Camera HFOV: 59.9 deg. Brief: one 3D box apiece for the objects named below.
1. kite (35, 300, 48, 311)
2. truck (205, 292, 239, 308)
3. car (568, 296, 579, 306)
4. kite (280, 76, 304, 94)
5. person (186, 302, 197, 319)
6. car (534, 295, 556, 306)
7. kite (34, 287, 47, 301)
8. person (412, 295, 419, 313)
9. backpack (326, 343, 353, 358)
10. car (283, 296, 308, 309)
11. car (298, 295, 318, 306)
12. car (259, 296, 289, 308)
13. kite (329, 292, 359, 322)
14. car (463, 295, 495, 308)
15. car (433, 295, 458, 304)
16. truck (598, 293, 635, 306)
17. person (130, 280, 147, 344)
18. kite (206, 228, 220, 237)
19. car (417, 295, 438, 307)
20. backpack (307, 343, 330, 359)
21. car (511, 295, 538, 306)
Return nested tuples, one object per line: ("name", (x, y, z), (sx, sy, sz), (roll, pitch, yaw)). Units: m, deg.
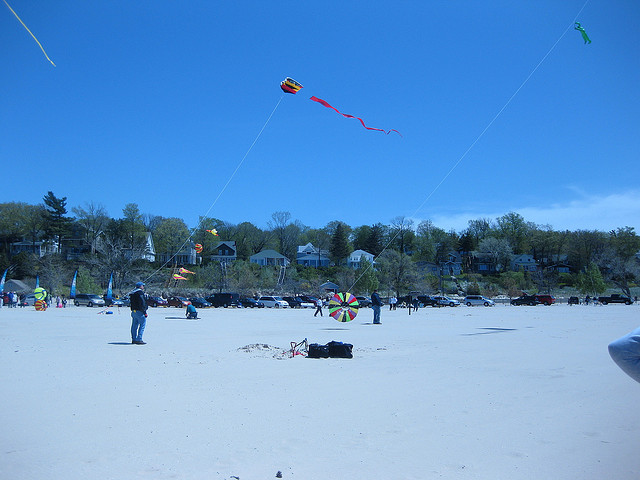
("kite", (-22.630, 5.296, 45.074), (0.670, 1.030, 0.918), (-8, -24, -25))
("truck", (-10.508, 6.539, 61.438), (2.401, 1.464, 1.738), (4, -7, -2))
("car", (33.214, 7.867, 73.043), (1.151, 0.826, 1.719), (0, -7, 0))
("kite", (-1.002, -5.365, 19.344), (0.635, 0.564, 0.493), (0, -3, -6))
("person", (-8.209, 4.441, 35.660), (0.535, 0.991, 1.025), (3, -29, -16))
("car", (28.304, 7.821, 70.497), (2.129, 1.086, 1.312), (2, 0, 42))
("kite", (-22.848, 4.402, 45.466), (0.558, 0.962, 2.435), (1, -3, -21))
("person", (10.869, 7.326, 63.480), (0.993, 2.188, 1.071), (-1, -10, 7))
("backpack", (0.599, 3.214, 16.236), (0.447, 0.491, 0.370), (-3, -8, 15))
("car", (-2.702, 7.059, 63.244), (1.972, 1.266, 1.254), (-5, -6, 26))
("car", (-1.227, 7.057, 64.898), (1.617, 0.859, 0.824), (-3, -4, 23))
("car", (-5.067, 6.781, 60.675), (2.224, 1.191, 1.439), (-3, -4, 9))
("kite", (1.162, 3.268, 27.130), (1.276, 1.513, 2.474), (-1, -3, 3))
("car", (20.042, 7.952, 70.000), (3.179, 1.471, 1.710), (-5, -3, 19))
("car", (15.580, 7.672, 70.514), (2.115, 0.907, 1.022), (-3, -1, 7))
("truck", (38.417, 7.683, 72.245), (4.084, 1.764, 2.102), (-2, -3, 18))
("person", (-6.076, 2.445, 18.553), (0.499, 2.066, 1.099), (1, -3, -20))
("kite", (-19.133, -1.318, 98.307), (2.618, 0.861, 1.688), (14, -26, -6))
("car", (13.235, 7.527, 68.996), (2.336, 1.726, 1.448), (-5, -1, 2))
("backpack", (-0.047, 3.274, 16.364), (0.652, 0.337, 0.697), (-1, -3, 0))
("car", (25.867, 7.659, 70.180), (2.452, 1.461, 1.467), (5, -3, 25))
